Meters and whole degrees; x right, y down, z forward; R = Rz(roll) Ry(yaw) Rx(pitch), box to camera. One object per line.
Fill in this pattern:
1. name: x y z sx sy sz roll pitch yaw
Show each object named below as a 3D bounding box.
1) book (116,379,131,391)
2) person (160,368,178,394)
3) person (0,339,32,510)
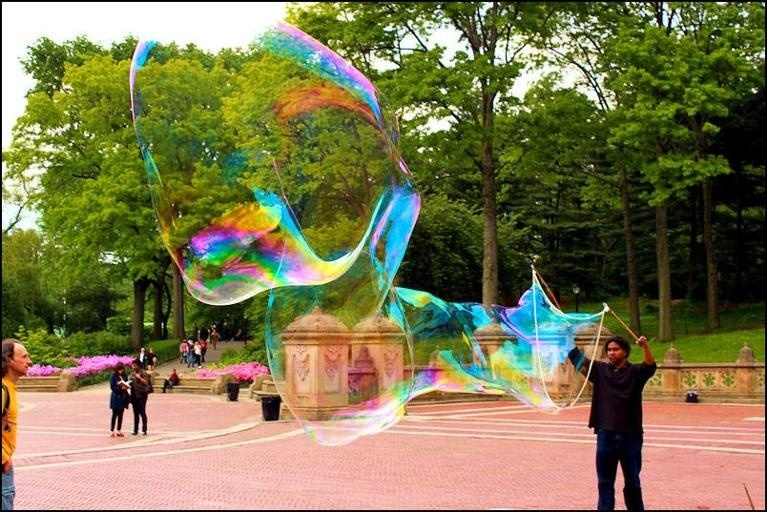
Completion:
1. book: -6.317 3.150 19.478 0.265 0.269 0.333 -4 -6 14
2. person: -9.693 5.680 35.936 0.711 0.914 0.968 -4 -6 16
3. person: -4.911 2.253 10.675 0.339 2.259 0.344 -1 -5 -23
